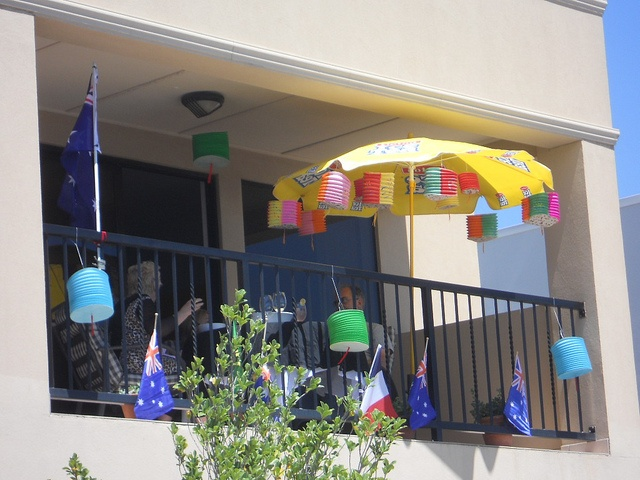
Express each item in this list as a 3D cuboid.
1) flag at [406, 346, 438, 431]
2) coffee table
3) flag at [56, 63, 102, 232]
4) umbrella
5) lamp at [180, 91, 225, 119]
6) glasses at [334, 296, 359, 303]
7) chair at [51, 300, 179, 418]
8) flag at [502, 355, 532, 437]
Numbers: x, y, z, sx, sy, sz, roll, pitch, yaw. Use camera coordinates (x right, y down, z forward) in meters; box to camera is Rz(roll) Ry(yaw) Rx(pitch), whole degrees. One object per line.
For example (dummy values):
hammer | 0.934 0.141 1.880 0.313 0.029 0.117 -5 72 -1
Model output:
flag | 0.805 1.132 9.142 0.222 0.705 0.380 -3 -7 5
coffee table | -0.633 0.862 8.785 0.579 0.750 0.669 -7 -7 17
flag | -1.804 -0.635 8.692 0.297 1.254 0.751 0 -7 -14
umbrella | 0.777 0.116 10.694 1.844 1.927 2.022 1 -5 -4
lamp | -1.066 -1.217 10.596 0.414 0.173 0.375 -1 -8 -14
glasses | 0.228 0.563 10.475 0.131 0.044 0.128 11 -13 -34
chair | -1.523 0.880 8.877 0.977 1.078 0.668 7 -10 -36
flag | 1.613 1.282 9.500 0.197 0.666 0.424 -4 -7 14
